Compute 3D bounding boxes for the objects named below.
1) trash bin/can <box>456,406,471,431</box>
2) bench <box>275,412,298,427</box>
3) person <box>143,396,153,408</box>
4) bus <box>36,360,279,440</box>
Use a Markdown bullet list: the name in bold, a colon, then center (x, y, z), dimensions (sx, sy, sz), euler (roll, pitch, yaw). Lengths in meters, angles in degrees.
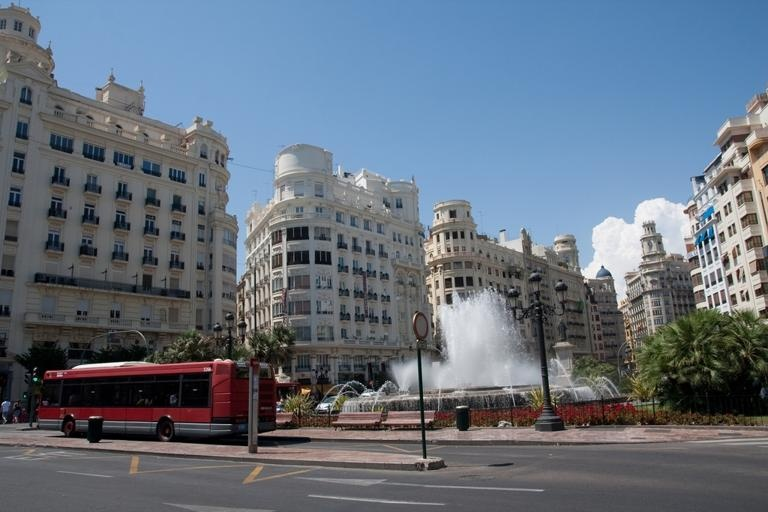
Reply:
- **trash bin/can**: center (4.167, 8.596, 32.225), dimensions (0.616, 1.236, 0.589), euler (-4, -17, 1)
- **bench**: center (-6.123, 10.253, 38.404), dimensions (1.169, 0.270, 1.057), euler (-2, -4, 9)
- **person**: center (-12.767, 7.945, 33.160), dimensions (0.489, 0.974, 0.445), euler (4, -14, -26)
- **bus**: center (-13.941, 8.149, 34.306), dimensions (15.118, 4.527, 1.840), euler (-11, -18, 24)
